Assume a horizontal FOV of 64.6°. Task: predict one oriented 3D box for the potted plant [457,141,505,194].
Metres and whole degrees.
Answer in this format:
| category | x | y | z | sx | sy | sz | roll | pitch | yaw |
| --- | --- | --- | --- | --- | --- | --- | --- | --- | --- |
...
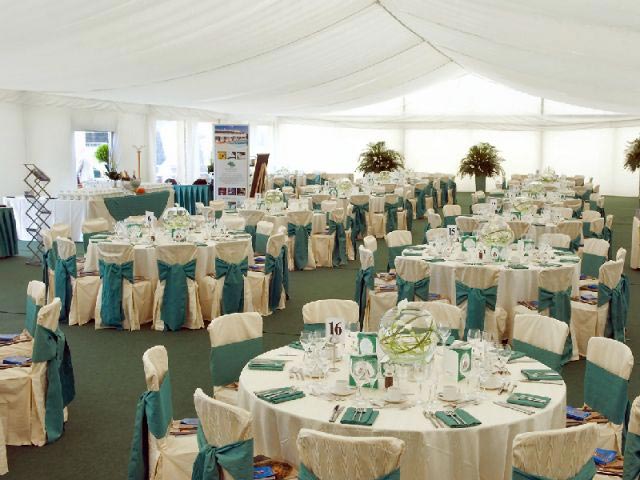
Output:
| category | x | y | z | sx | sy | sz | roll | pitch | yaw |
| --- | --- | --- | --- | --- | --- | --- | --- | --- | --- |
| potted plant | 6.487 | -2.909 | 20.649 | 1.377 | 1.842 | 1.498 | 3 | 3 | 38 |
